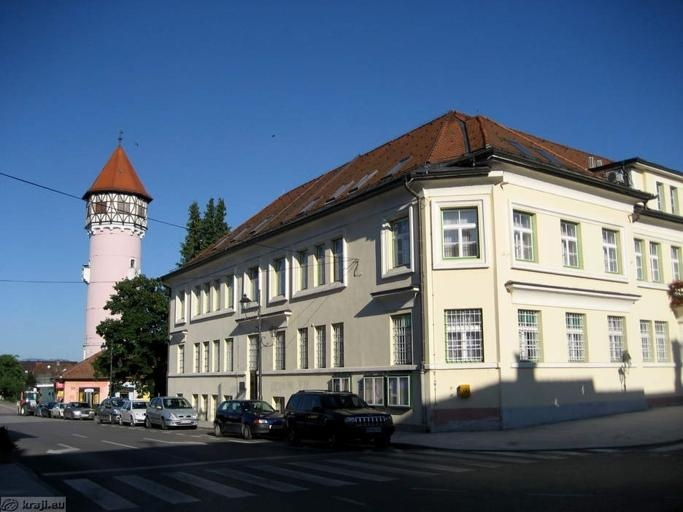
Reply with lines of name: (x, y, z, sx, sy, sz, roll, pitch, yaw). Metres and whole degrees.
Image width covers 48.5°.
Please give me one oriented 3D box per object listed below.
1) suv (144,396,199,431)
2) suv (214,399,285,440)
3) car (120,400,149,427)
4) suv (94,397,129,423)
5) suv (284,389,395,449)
suv: (-9.204, 8.537, 40.885, 1.688, 1.187, 2.755, 6, -16, -27)
suv: (-3.975, 7.101, 32.940, 1.645, 1.139, 3.090, 7, -17, -31)
car: (-12.555, 9.546, 45.828, 1.402, 1.116, 2.430, 8, -22, -29)
suv: (-15.190, 10.190, 49.905, 1.700, 1.357, 3.131, 8, -18, -32)
suv: (-0.162, 5.970, 28.102, 1.725, 2.143, 4.249, 14, -20, -40)
